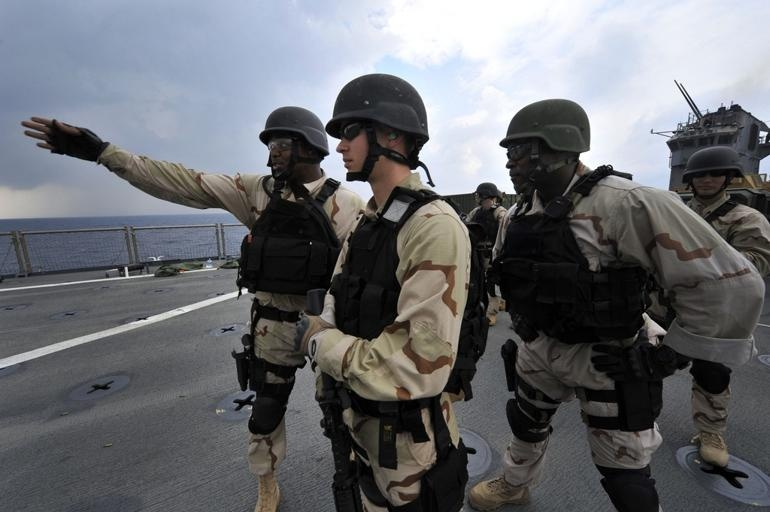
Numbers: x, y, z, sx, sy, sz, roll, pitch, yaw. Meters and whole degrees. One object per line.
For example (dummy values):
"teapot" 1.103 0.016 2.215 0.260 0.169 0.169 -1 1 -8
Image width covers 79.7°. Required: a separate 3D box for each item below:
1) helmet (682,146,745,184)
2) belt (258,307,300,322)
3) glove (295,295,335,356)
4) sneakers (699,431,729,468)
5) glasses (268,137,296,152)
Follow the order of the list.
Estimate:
"helmet" 4.000 -1.134 5.662 0.562 0.317 0.485 7 -5 -28
"belt" -1.118 0.616 4.814 0.319 0.096 0.241 6 0 -5
"glove" -0.546 0.580 4.014 0.223 0.458 0.345 17 -43 -20
"sneakers" 3.593 2.140 5.070 0.208 0.182 0.455 -15 4 20
"glasses" -1.109 -1.157 4.805 0.309 0.134 0.102 2 7 16
